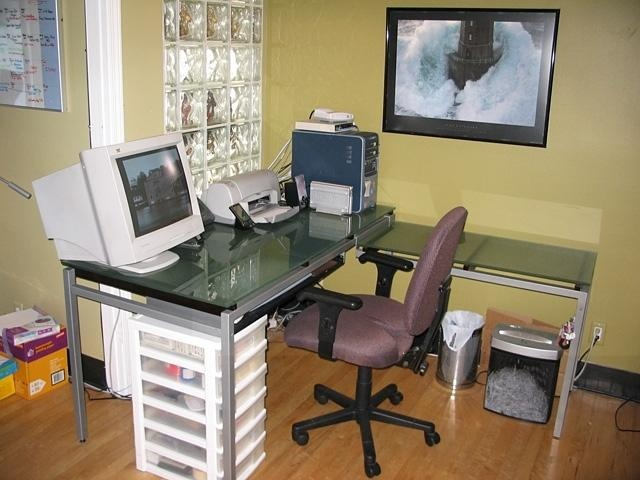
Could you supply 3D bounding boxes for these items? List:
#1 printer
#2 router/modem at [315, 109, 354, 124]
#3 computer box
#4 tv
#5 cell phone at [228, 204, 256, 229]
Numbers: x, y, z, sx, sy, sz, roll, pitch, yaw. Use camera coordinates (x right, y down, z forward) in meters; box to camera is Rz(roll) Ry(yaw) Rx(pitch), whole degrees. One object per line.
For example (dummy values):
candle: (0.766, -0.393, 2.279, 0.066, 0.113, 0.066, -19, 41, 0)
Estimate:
printer: (-0.440, -0.257, 3.073, 0.387, 0.218, 0.425, 19, 26, 26)
router/modem: (0.078, -0.827, 3.403, 0.243, 0.085, 0.164, 7, 24, 19)
computer box: (0.099, -0.476, 3.483, 0.545, 0.550, 0.310, 8, 17, 25)
tv: (-0.960, -0.230, 2.630, 0.657, 0.668, 0.724, 15, 22, 17)
cell phone: (-0.460, -0.134, 2.979, 0.035, 0.157, 0.110, -29, -17, 34)
